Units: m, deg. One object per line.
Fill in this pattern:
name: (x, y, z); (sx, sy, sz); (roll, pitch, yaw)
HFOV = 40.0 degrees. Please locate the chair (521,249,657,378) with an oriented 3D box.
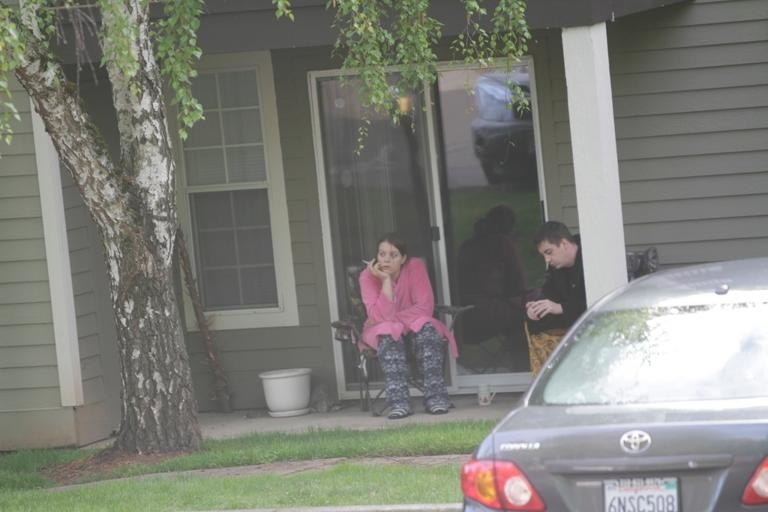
chair: (2.200, 0.387, 10.278); (1.011, 0.901, 0.561); (-16, 33, -1)

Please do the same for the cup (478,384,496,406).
cup: (1.060, 1.426, 10.809); (0.163, 0.316, 0.173); (-1, 2, 0)

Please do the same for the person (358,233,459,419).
person: (0.265, 0.676, 10.603); (0.886, 1.712, 0.907); (-6, 9, -17)

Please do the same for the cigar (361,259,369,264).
cigar: (-0.190, 0.067, 11.182); (0.031, 0.033, 0.136); (11, -1, -39)

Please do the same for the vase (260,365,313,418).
vase: (-1.025, 1.408, 11.044); (0.472, 0.388, 0.483); (-4, 3, 9)

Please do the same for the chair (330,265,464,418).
chair: (0.008, 0.806, 11.279); (1.111, 1.508, 1.354); (-4, -2, -23)
